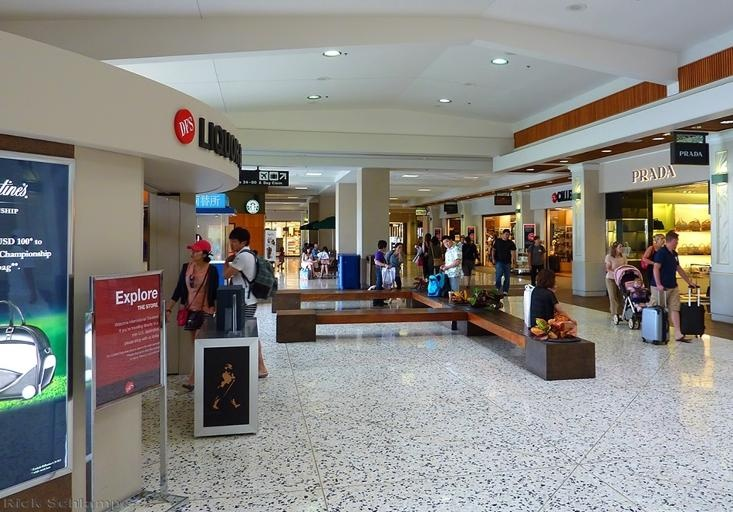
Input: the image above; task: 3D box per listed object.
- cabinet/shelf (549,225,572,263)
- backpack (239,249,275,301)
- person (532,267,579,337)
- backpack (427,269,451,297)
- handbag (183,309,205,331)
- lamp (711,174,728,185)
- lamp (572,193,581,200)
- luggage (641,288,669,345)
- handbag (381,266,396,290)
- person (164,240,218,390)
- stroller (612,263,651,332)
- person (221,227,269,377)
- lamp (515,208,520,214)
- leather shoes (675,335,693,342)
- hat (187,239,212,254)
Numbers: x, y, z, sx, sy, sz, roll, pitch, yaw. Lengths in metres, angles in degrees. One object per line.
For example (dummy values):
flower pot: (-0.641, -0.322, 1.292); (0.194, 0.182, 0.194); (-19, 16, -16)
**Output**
cabinet/shelf: (7.742, -0.509, 19.919); (0.377, 1.485, 0.962); (-4, 7, -30)
backpack: (-1.376, 0.239, 6.175); (0.574, 0.550, 0.417); (6, 10, -11)
person: (2.530, 0.647, 6.772); (0.550, 0.834, 0.601); (9, 3, -5)
backpack: (1.464, 0.574, 10.362); (0.406, 0.499, 0.548); (-7, 3, 1)
handbag: (-1.956, 0.718, 5.581); (0.247, 0.219, 0.129); (0, -10, -2)
lamp: (6.958, -1.520, 9.822); (0.220, 0.150, 0.302); (-2, 3, -24)
lamp: (6.003, -1.697, 14.261); (0.188, 0.168, 0.179); (0, -3, 34)
luggage: (4.744, 0.974, 8.159); (0.372, 0.861, 0.630); (4, 7, 34)
handbag: (0.486, 0.533, 11.946); (0.555, 0.598, 0.322); (3, -6, -20)
person: (-1.986, 0.720, 5.709); (0.524, 1.789, 1.367); (-3, 7, -22)
stroller: (4.876, 0.717, 9.011); (0.606, 1.031, 0.733); (-4, 3, -6)
person: (-1.481, 0.613, 6.044); (0.483, 1.912, 1.382); (-2, 6, -12)
lamp: (6.374, -1.900, 21.036); (0.140, 0.229, 0.248); (1, -2, -23)
leather shoes: (5.240, 1.372, 8.167); (0.306, 0.081, 0.114); (-4, 4, 4)
hat: (-1.889, -0.096, 5.587); (0.246, 0.111, 0.173); (6, -1, -15)
